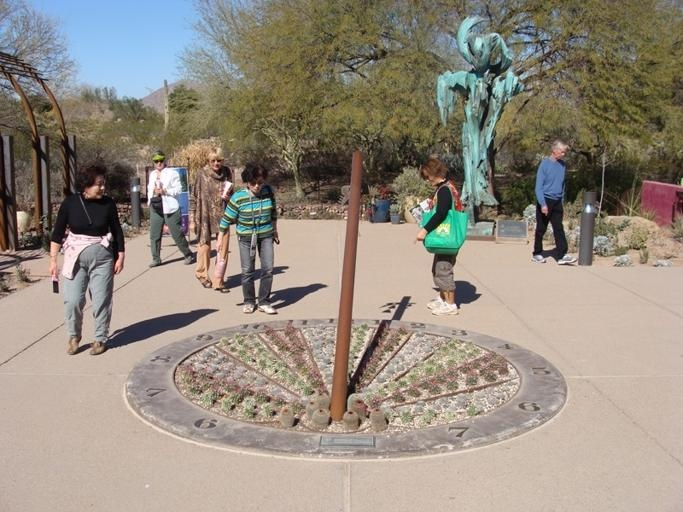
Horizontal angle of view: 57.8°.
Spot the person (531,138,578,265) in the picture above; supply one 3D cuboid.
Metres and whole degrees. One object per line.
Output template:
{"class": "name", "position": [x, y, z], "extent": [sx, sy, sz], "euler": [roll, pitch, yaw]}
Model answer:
{"class": "person", "position": [3.612, -0.921, 10.523], "extent": [0.601, 2.106, 0.388], "euler": [5, 14, 21]}

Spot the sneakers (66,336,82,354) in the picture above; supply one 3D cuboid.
{"class": "sneakers", "position": [-2.897, 0.971, 6.746], "extent": [0.081, 0.117, 0.243], "euler": [-1, 25, -9]}

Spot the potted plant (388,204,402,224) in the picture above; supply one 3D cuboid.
{"class": "potted plant", "position": [1.391, -1.094, 15.836], "extent": [0.395, 0.729, 0.396], "euler": [-1, 1, -6]}

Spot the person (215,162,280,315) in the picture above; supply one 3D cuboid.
{"class": "person", "position": [-1.177, -0.258, 8.052], "extent": [0.691, 1.939, 0.677], "euler": [-1, 13, -2]}

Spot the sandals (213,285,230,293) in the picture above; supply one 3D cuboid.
{"class": "sandals", "position": [-1.724, 0.471, 8.985], "extent": [0.102, 0.077, 0.185], "euler": [-3, 5, -32]}

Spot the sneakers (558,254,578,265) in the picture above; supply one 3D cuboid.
{"class": "sneakers", "position": [3.858, 0.060, 10.585], "extent": [0.231, 0.135, 0.107], "euler": [-5, 33, 7]}

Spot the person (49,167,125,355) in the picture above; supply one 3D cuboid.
{"class": "person", "position": [-2.726, 0.041, 6.691], "extent": [0.746, 2.005, 0.468], "euler": [-6, 14, -23]}

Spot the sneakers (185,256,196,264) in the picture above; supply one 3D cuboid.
{"class": "sneakers", "position": [-2.628, 0.060, 10.851], "extent": [0.086, 0.119, 0.267], "euler": [0, 5, 4]}

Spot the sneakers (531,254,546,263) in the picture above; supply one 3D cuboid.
{"class": "sneakers", "position": [3.461, 0.044, 10.872], "extent": [0.094, 0.117, 0.240], "euler": [-1, 2, -17]}

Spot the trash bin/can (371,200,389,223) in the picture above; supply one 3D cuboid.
{"class": "trash bin/can", "position": [1.028, -1.153, 15.772], "extent": [0.441, 0.628, 0.517], "euler": [0, 6, -3]}

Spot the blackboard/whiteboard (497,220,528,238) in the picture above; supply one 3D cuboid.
{"class": "blackboard/whiteboard", "position": [3.515, -0.557, 12.744], "extent": [0.604, 0.369, 0.165], "euler": [1, 13, 2]}

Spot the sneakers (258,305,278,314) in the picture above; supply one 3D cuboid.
{"class": "sneakers", "position": [-0.933, 0.689, 8.033], "extent": [0.204, 0.103, 0.112], "euler": [7, 11, 32]}
